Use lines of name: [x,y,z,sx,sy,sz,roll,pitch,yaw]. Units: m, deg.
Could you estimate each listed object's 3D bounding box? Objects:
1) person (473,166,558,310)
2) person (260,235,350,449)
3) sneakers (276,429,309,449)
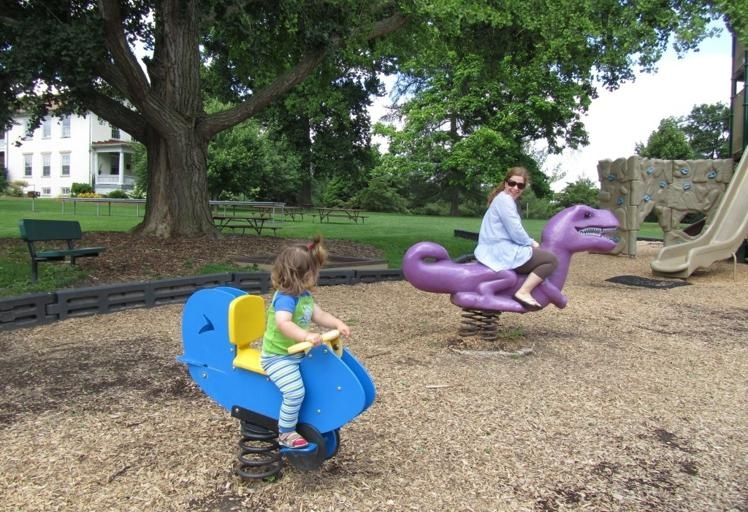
person: [1.940,-0.260,8.872,1.112,1.913,0.576,3,10,14]
person: [-0.732,0.859,6.472,0.792,2.098,0.505,-1,9,-9]
sneakers: [-0.801,1.830,6.482,0.328,0.114,0.141,0,-1,18]
